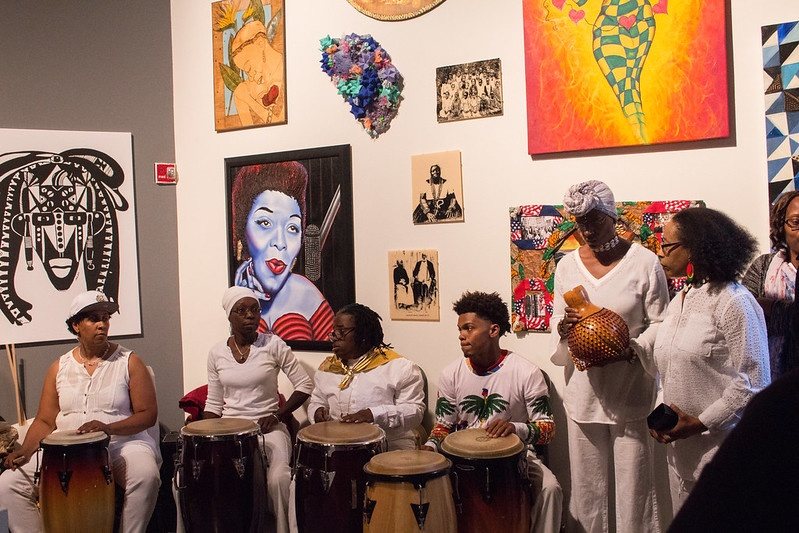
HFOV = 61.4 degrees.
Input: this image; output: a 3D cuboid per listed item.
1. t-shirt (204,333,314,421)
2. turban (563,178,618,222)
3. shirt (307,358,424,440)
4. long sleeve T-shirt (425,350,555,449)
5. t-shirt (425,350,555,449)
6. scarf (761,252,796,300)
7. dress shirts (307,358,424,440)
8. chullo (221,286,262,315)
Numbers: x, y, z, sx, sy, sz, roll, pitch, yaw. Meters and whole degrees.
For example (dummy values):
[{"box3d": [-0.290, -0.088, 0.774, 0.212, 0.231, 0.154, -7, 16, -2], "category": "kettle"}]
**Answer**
[{"box3d": [-1.049, 0.845, 5.042, 0.623, 0.509, 0.255, -2, -15, -1], "category": "t-shirt"}, {"box3d": [1.172, -0.373, 4.071, 0.266, 0.275, 0.210, -41, 39, -20], "category": "turban"}, {"box3d": [-0.243, 0.898, 4.713, 0.769, 0.799, 0.545, -8, -17, 19], "category": "shirt"}, {"box3d": [0.656, 0.862, 4.593, 0.840, 0.879, 0.603, -3, -12, 19], "category": "long sleeve T-shirt"}, {"box3d": [0.649, 0.862, 4.662, 0.840, 0.879, 0.603, -3, -12, 19], "category": "t-shirt"}, {"box3d": [2.236, 0.063, 3.949, 0.100, 0.268, 0.194, 4, -6, -30], "category": "scarf"}, {"box3d": [-0.240, 0.912, 4.723, 0.769, 0.799, 0.545, -8, -17, 19], "category": "dress shirts"}, {"box3d": [-1.211, 0.267, 5.123, 0.251, 0.217, 0.197, -5, 1, 31], "category": "chullo"}]
